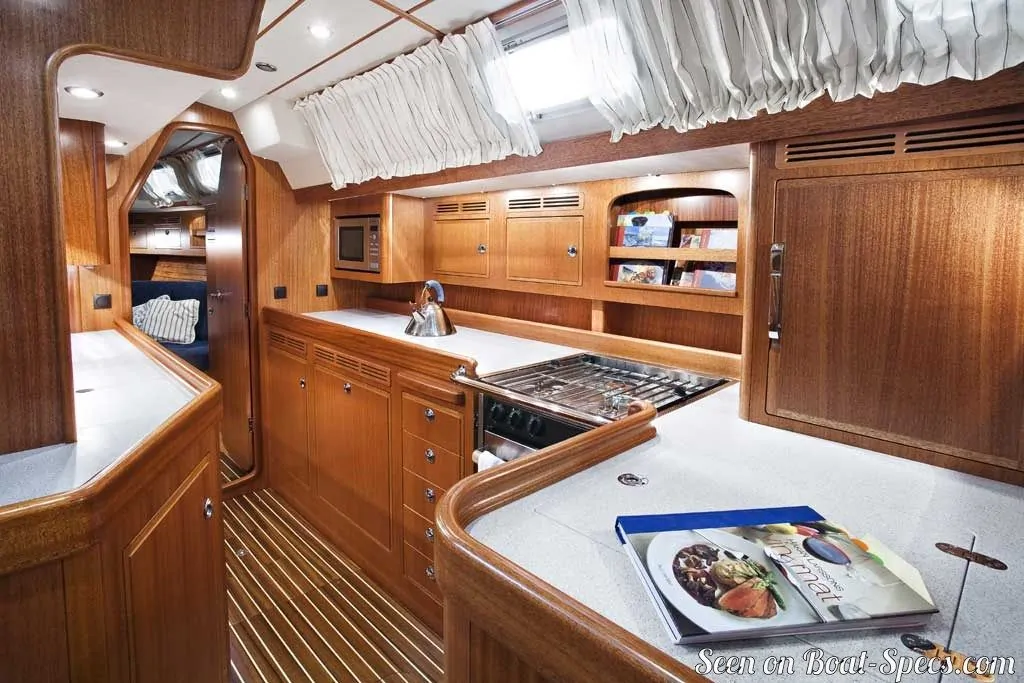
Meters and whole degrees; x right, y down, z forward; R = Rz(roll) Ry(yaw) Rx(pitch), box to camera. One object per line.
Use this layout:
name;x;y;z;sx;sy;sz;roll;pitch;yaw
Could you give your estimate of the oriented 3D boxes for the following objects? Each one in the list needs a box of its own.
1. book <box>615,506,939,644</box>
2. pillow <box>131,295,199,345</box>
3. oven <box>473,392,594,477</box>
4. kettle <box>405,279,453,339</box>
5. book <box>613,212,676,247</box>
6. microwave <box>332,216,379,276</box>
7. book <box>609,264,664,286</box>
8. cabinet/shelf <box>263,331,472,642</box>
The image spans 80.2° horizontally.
book;0.594;0.519;1.350;0.436;0.039;0.295;-1;17;-8
pillow;-3.102;-0.201;5.504;0.668;0.349;0.441;7;13;8
oven;0.066;0.312;2.657;0.360;0.351;0.515;-19;-2;-18
kettle;-0.505;-0.183;3.575;0.325;0.307;0.355;4;6;25
book;0.631;-0.550;2.956;0.325;0.176;0.079;15;16;38
microwave;-1.025;-0.640;4.041;0.287;0.312;0.485;-2;6;-40
book;0.621;-0.341;2.989;0.090;0.099;0.283;-6;17;-40
cabinet/shelf;-0.710;0.724;3.048;0.503;0.816;1.464;0;10;-41
